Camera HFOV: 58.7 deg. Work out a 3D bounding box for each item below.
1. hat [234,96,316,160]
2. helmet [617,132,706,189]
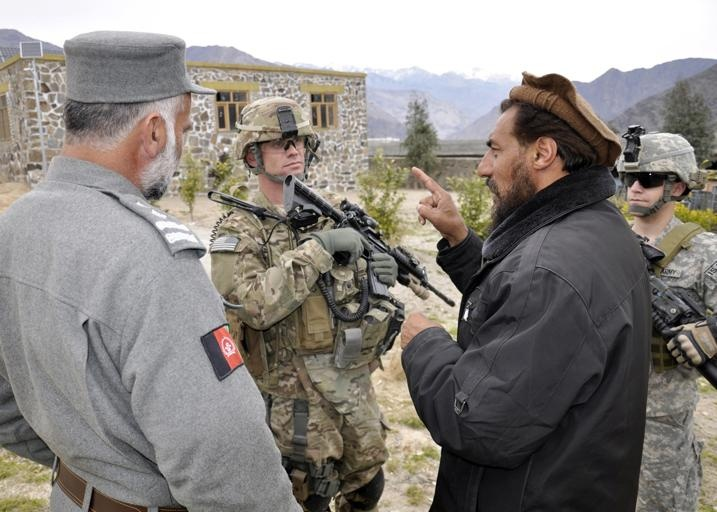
[{"bbox_3d":[-0.613,-0.891,4.433,0.409,0.345,0.426,6,15,33],"label":"hat"},{"bbox_3d":[2.371,-0.796,5.002,0.594,0.429,0.480,-12,19,-33],"label":"helmet"}]
